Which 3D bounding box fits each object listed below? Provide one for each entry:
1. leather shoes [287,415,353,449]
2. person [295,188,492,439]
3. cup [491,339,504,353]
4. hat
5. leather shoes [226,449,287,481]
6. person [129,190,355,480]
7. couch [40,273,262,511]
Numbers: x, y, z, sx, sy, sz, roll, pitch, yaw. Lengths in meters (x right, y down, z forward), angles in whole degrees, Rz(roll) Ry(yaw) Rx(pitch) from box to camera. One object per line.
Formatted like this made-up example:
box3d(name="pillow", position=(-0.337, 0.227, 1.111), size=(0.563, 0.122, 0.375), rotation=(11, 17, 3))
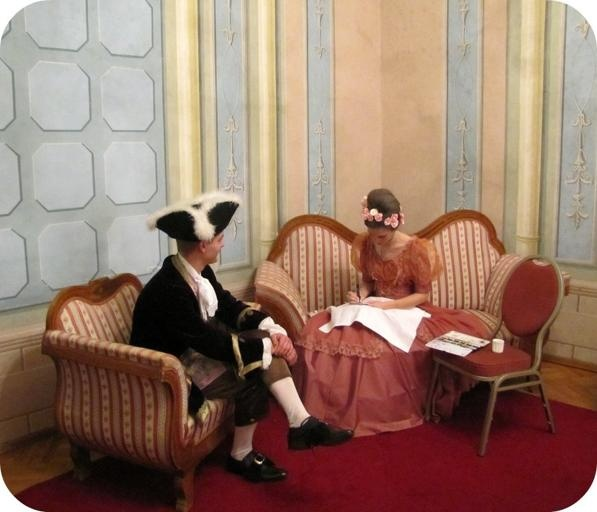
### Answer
box3d(name="leather shoes", position=(0.077, 0.768, 2.249), size=(0.327, 0.159, 0.117), rotation=(-7, 13, 14))
box3d(name="person", position=(0.489, 0.273, 3.090), size=(0.962, 1.266, 1.075), rotation=(-5, 7, -9))
box3d(name="cup", position=(1.038, 0.459, 2.631), size=(0.061, 0.074, 0.065), rotation=(-1, 4, 0))
box3d(name="hat", position=(-0.549, -0.163, 2.306), size=(0.190, 0.089, 0.234), rotation=(-14, -12, -4))
box3d(name="leather shoes", position=(-0.197, 0.963, 2.402), size=(0.238, 0.099, 0.116), rotation=(1, 3, 30))
box3d(name="person", position=(-0.194, 0.173, 2.955), size=(1.364, 1.791, 0.834), rotation=(1, 10, 10))
box3d(name="couch", position=(-0.619, 0.546, 2.600), size=(0.753, 1.135, 1.422), rotation=(1, 6, 16))
